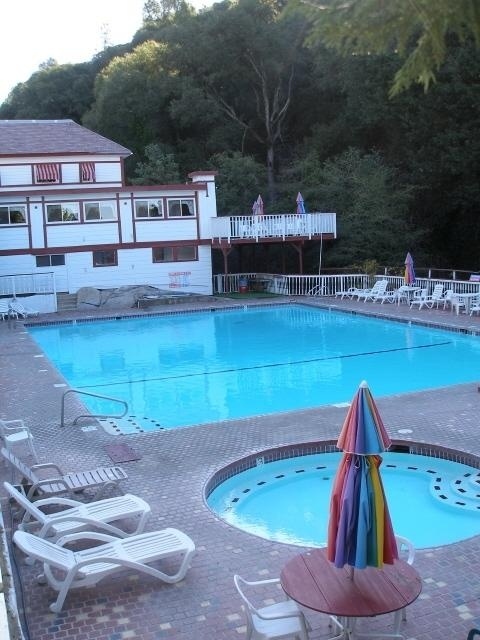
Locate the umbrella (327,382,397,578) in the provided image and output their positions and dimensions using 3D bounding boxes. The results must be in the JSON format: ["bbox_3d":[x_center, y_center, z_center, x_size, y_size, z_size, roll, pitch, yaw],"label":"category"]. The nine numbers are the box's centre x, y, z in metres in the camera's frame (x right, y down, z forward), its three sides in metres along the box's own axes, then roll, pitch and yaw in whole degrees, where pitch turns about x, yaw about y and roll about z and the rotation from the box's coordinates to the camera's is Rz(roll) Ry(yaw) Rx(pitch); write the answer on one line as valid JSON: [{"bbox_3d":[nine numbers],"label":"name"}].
[{"bbox_3d":[0.821,1.068,3.834,0.455,0.935,0.475,2,1,15],"label":"umbrella"}]

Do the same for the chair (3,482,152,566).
[{"bbox_3d":[-1.476,1.950,5.740,1.515,0.636,0.722,-8,11,-16],"label":"chair"}]

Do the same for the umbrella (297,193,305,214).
[{"bbox_3d":[3.231,-6.122,30.512,0.388,0.768,1.212,2,1,6],"label":"umbrella"}]

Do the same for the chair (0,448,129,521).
[{"bbox_3d":[-1.862,1.940,6.923,1.783,0.685,0.704,-4,12,-19],"label":"chair"}]

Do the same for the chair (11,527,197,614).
[{"bbox_3d":[-1.075,1.971,4.842,1.586,0.484,0.638,-7,13,-20],"label":"chair"}]
